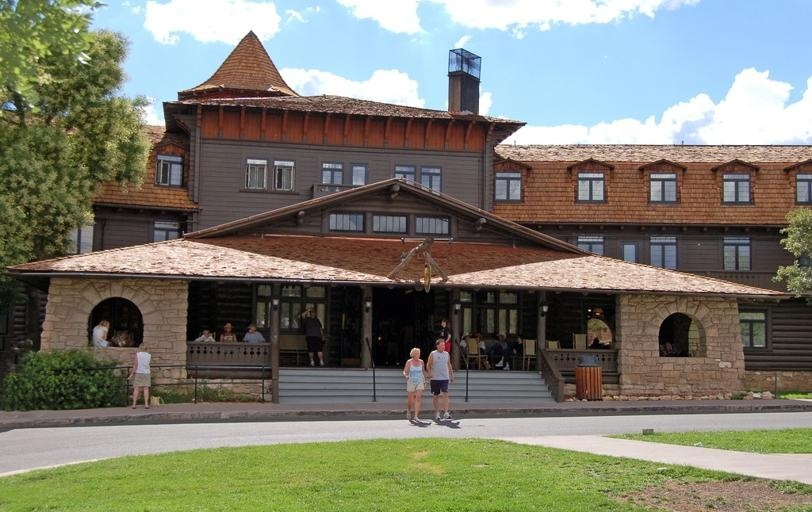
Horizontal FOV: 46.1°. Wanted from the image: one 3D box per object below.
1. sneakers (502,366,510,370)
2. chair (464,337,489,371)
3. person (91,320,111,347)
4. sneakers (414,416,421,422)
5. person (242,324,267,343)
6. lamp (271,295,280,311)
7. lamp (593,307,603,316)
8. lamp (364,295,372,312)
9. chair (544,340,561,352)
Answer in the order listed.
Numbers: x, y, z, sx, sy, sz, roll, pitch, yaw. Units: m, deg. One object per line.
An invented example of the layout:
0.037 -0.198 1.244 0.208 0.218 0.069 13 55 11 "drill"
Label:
4.334 4.906 41.835 0.223 0.107 0.272 0 -6 -8 "sneakers"
3.184 4.440 42.767 1.380 1.326 1.254 6 -5 2 "chair"
-12.026 3.057 37.349 0.617 1.096 0.668 3 -10 -17 "person"
0.342 5.710 33.327 0.284 0.127 0.362 1 -3 7 "sneakers"
-6.481 3.305 40.498 1.022 0.779 0.492 -1 -13 -6 "person"
-5.277 1.923 38.428 0.320 0.477 0.208 5 -11 -28 "lamp"
9.818 2.851 48.701 0.497 0.366 0.449 -1 1 -11 "lamp"
-1.625 1.989 39.793 0.310 0.688 0.200 4 -10 -19 "lamp"
6.692 4.103 43.482 0.636 0.765 0.586 1 -8 -9 "chair"
